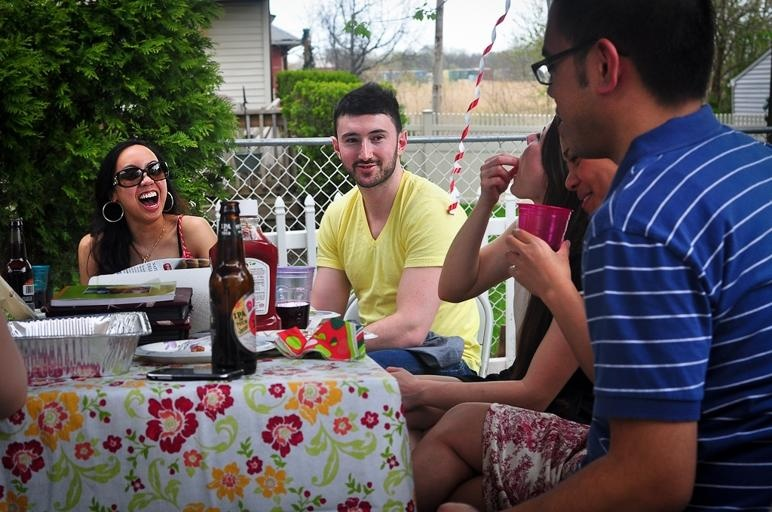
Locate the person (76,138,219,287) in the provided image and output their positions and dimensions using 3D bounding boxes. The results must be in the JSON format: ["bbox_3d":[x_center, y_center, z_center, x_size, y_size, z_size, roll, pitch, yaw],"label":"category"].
[{"bbox_3d":[-1.342,-0.292,3.656,0.648,0.724,0.279,-6,9,-27],"label":"person"}]

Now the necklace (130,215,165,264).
[{"bbox_3d":[-1.367,-0.076,3.671,0.209,0.265,0.068,-8,-9,6],"label":"necklace"}]

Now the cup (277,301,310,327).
[{"bbox_3d":[-0.316,0.201,2.191,0.088,0.064,0.083,-1,2,0],"label":"cup"}]

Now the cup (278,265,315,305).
[{"bbox_3d":[-0.322,0.109,2.316,0.124,0.125,0.125,1,0,0],"label":"cup"}]

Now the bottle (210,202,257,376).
[{"bbox_3d":[-0.417,0.089,1.723,0.113,0.458,0.106,-1,8,0],"label":"bottle"}]

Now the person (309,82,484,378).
[{"bbox_3d":[-0.102,-0.070,3.364,1.111,1.573,1.142,-2,0,-2],"label":"person"}]

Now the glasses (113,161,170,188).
[{"bbox_3d":[-1.367,-0.454,3.578,0.291,0.141,0.165,-5,9,-23],"label":"glasses"}]

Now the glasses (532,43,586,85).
[{"bbox_3d":[0.427,-0.477,1.572,0.092,0.027,0.090,-21,4,12],"label":"glasses"}]

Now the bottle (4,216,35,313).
[{"bbox_3d":[-1.573,0.026,2.750,0.103,0.369,0.365,-6,9,-28],"label":"bottle"}]

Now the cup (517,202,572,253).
[{"bbox_3d":[0.510,-0.094,2.137,0.159,0.120,0.159,7,1,0],"label":"cup"}]
